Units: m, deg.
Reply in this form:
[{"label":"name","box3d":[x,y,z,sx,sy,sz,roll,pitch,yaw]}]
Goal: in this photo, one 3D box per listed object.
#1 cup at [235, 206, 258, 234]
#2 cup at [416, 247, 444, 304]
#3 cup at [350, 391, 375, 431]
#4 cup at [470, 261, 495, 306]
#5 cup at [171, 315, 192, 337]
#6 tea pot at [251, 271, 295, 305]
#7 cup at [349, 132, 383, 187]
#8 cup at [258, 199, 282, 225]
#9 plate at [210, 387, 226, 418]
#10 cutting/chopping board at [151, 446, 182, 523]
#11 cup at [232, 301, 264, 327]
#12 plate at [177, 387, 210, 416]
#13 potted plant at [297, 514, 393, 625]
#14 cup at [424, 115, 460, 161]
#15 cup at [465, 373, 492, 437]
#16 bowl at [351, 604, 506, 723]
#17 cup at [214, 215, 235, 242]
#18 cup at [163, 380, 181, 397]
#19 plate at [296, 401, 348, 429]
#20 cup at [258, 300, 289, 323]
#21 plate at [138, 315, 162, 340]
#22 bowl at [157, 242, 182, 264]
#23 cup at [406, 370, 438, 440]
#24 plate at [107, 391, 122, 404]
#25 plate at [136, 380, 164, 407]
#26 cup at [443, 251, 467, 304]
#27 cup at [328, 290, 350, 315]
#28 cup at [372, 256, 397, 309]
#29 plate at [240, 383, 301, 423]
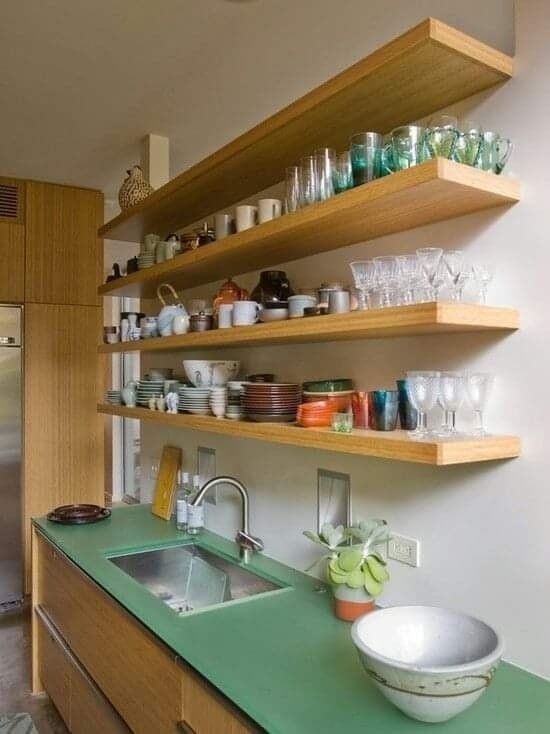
[{"label":"cup","box3d":[-0.102,-0.468,1.854,0.068,0.098,0.108,-2,8,-23]},{"label":"cup","box3d":[0.353,-0.208,1.328,0.061,0.122,0.110,-3,-1,16]},{"label":"cup","box3d":[0.227,0.111,1.506,0.082,0.111,0.094,-1,-5,2]},{"label":"cup","box3d":[0.469,-0.184,1.325,0.039,0.092,0.089,-3,-1,7]},{"label":"cup","box3d":[-0.373,-0.164,2.318,0.083,0.092,0.082,0,5,0]},{"label":"tea pot","box3d":[-0.016,-0.261,1.940,0.138,0.128,0.115,3,-3,-28]},{"label":"cup","box3d":[0.218,-0.501,1.403,0.077,0.128,0.052,-3,-1,11]},{"label":"cup","box3d":[-0.017,-0.461,1.746,0.066,0.072,0.104,-1,10,-13]},{"label":"plate","box3d":[-0.208,0.132,2.149,0.061,0.103,0.126,-3,-1,-8]},{"label":"cutting/chopping board","box3d":[-0.539,0.593,2.927,0.045,0.427,0.325,11,-8,-22]},{"label":"cup","box3d":[-0.094,-0.168,1.856,0.065,0.082,0.101,1,3,-34]},{"label":"plate","box3d":[-0.317,0.138,2.303,0.114,0.063,0.113,1,-4,12]},{"label":"potted plant","box3d":[0.216,0.519,1.653,0.332,0.373,0.260,1,-11,5]},{"label":"cup","box3d":[0.357,-0.481,1.245,0.071,0.094,0.061,-3,-1,19]},{"label":"cup","box3d":[0.447,0.083,1.295,0.057,0.140,0.080,-3,-1,1]},{"label":"bowl","box3d":[0.292,0.547,1.101,0.225,0.121,0.223,-1,-4,0]},{"label":"cup","box3d":[-0.178,-0.494,2.076,0.065,0.084,0.109,-3,-1,-22]},{"label":"cup","box3d":[-0.438,0.093,2.531,0.071,0.077,0.070,0,-3,0]},{"label":"plate","box3d":[0.115,0.136,1.600,0.094,0.061,0.076,5,-9,-24]},{"label":"cup","box3d":[0.004,-0.158,1.763,0.074,0.040,0.074,-1,-6,0]},{"label":"plate","box3d":[-0.560,-0.173,2.602,0.106,0.102,0.104,1,-1,-31]},{"label":"bowl","box3d":[-0.460,-0.488,2.482,0.052,0.079,0.170,-3,-1,-40]},{"label":"cup","box3d":[0.333,0.083,1.305,0.068,0.147,0.123,-3,-1,13]},{"label":"plate","box3d":[-0.814,0.155,2.985,0.074,0.050,0.073,1,0,14]},{"label":"plate","box3d":[-0.578,0.119,2.690,0.133,0.089,0.130,0,-2,-15]},{"label":"cup","box3d":[0.410,-0.210,1.327,0.050,0.117,0.092,-3,-1,16]},{"label":"cup","box3d":[0.157,-0.161,1.515,0.061,0.066,0.060,0,-5,0]},{"label":"cup","box3d":[0.271,-0.206,1.437,0.053,0.116,0.138,-3,-1,9]},{"label":"plate","box3d":[-0.005,0.113,1.860,0.165,0.114,0.162,-3,-1,-32]}]
